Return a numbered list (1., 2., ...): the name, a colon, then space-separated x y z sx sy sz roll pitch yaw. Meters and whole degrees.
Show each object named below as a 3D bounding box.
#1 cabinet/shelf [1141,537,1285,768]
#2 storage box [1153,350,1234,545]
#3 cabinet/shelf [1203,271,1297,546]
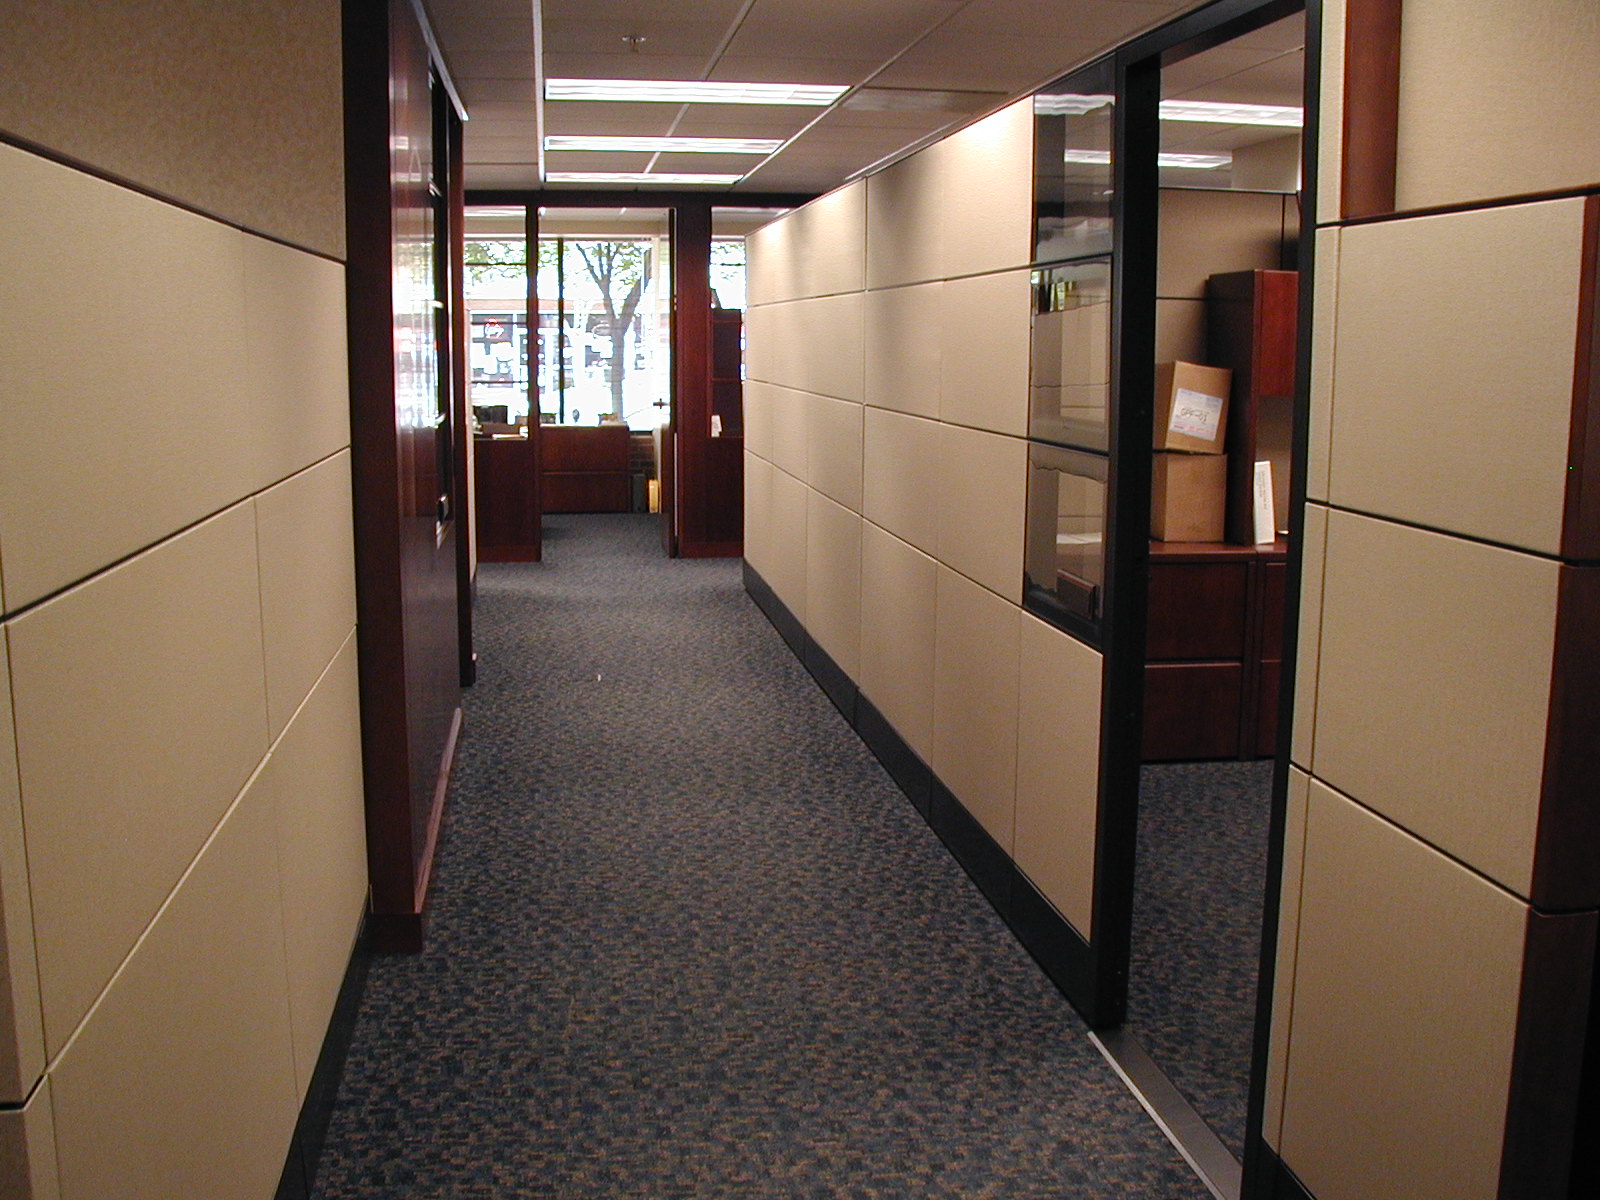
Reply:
1. cabinet/shelf: 1.694 0.214 5.794 0.509 0.958 0.948 -1 9 -4
2. storage box: 1.705 -0.645 5.302 0.307 0.984 0.628 -1 11 2
3. cabinet/shelf: 1.967 -0.845 5.398 0.418 1.155 0.482 4 12 15
